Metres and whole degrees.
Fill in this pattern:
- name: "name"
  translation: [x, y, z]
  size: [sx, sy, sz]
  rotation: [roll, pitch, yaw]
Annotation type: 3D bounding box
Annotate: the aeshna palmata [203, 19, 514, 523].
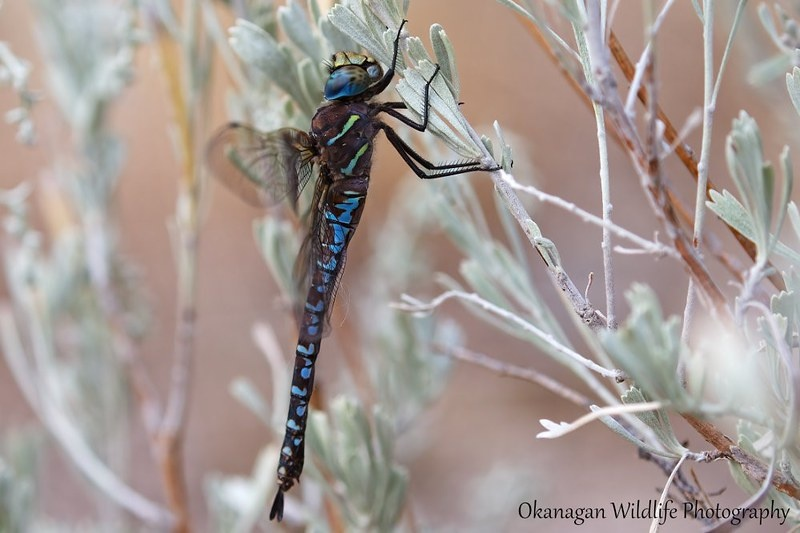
- name: "aeshna palmata"
  translation: [-0.105, 0.043, 2.048]
  size: [0.393, 1.263, 1.251]
  rotation: [1, 89, -8]
